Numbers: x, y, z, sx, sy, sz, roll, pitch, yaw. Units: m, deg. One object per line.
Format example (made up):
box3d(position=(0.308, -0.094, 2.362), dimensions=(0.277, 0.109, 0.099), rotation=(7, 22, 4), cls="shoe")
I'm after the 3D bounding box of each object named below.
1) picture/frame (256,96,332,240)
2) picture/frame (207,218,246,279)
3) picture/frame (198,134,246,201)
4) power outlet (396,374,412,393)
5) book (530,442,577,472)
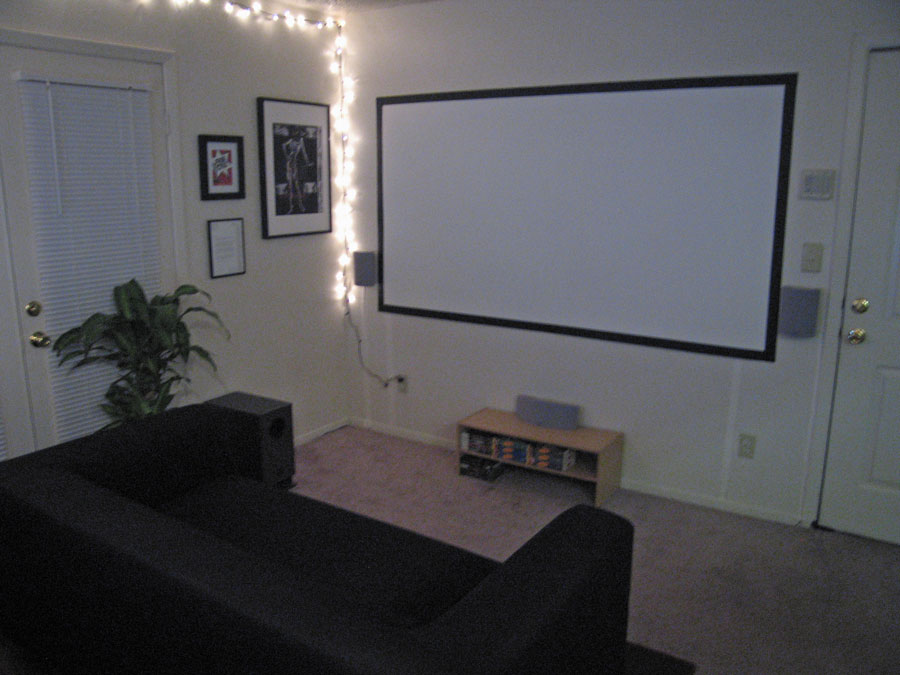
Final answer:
box3d(position=(-1.096, -1.186, 4.524), dimensions=(0.040, 1.254, 0.841), rotation=(5, 10, 30), cls="picture/frame")
box3d(position=(-1.439, -0.577, 4.189), dimensions=(0.042, 0.465, 0.320), rotation=(5, 10, 30), cls="picture/frame")
box3d(position=(-1.436, -1.064, 4.088), dimensions=(0.032, 0.479, 0.376), rotation=(5, 9, 28), cls="picture/frame")
box3d(position=(-0.357, 0.336, 4.855), dimensions=(0.096, 0.159, 0.114), rotation=(3, 7, 24), cls="power outlet")
box3d(position=(0.631, 0.732, 4.157), dimensions=(0.191, 0.080, 0.159), rotation=(5, 11, 29), cls="book")
